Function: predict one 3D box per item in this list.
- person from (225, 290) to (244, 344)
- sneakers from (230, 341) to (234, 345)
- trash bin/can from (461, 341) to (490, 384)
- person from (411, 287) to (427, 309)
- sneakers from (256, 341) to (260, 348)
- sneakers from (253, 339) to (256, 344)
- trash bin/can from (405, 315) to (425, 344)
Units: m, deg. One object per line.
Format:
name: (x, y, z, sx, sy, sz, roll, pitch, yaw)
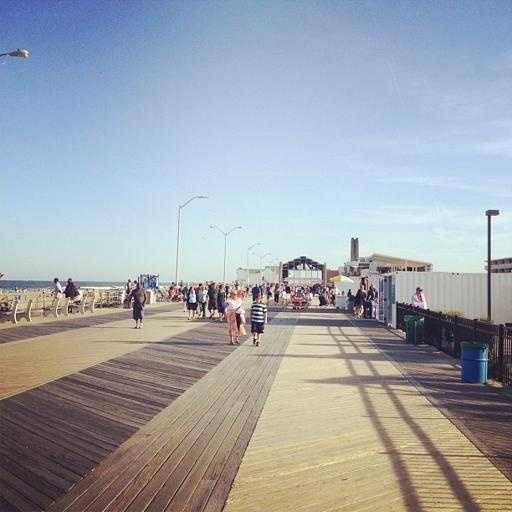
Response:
person: (-0.780, 2.271, 16.346, 0.672, 1.911, 1.557, 1, -4, -2)
sneakers: (-0.865, 3.143, 15.757, 0.096, 0.128, 0.110, -2, -2, 25)
trash bin/can: (5.012, 2.451, 9.995, 0.543, 0.934, 0.599, 1, 0, -28)
person: (7.100, 1.820, 19.029, 0.553, 0.860, 1.702, 0, -5, 21)
sneakers: (0.076, 3.110, 15.353, 0.070, 0.172, 0.162, 2, -20, -2)
sneakers: (-0.044, 3.064, 15.526, 0.097, 0.163, 0.154, 0, -12, 2)
trash bin/can: (6.019, 2.826, 16.559, 0.805, 1.246, 0.905, 0, -8, 0)
